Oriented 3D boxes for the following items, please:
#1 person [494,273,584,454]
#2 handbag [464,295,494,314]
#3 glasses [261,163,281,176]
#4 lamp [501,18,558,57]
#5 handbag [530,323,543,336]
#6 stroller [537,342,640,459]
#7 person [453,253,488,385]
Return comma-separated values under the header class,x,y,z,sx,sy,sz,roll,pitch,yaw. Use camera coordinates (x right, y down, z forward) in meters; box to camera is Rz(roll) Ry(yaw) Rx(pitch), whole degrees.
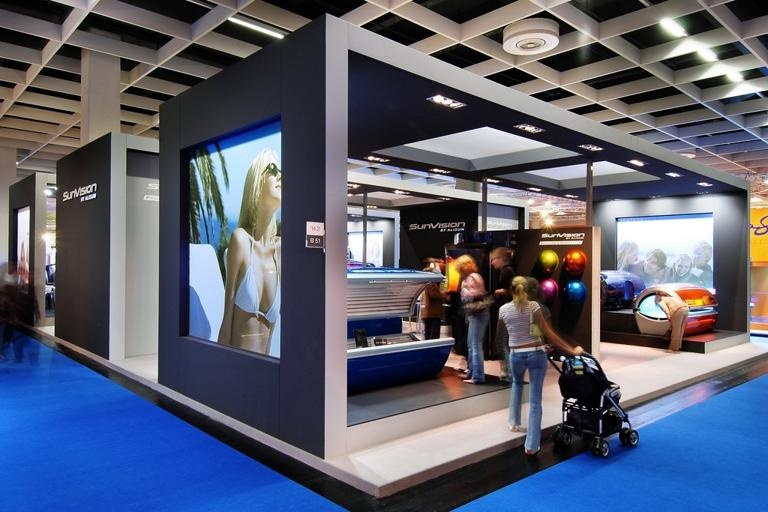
class,x,y,z,sx,sy,sz,roll,pitch,yaw
person,1.728,1.230,5.454,0.736,1.964,0.675,-4,8,-38
handbag,1.453,0.727,6.929,0.271,0.117,0.319,-15,-3,44
glasses,-1.330,-1.031,5.529,0.185,0.165,0.062,6,1,33
lamp,2.242,-3.328,7.050,0.838,0.254,0.804,-2,3,-24
handbag,1.728,0.850,5.288,0.105,0.134,0.036,0,8,-2
stroller,2.491,1.748,5.535,0.971,1.018,0.745,10,-11,-40
person,1.381,0.907,7.156,0.499,1.731,1.366,2,6,8
